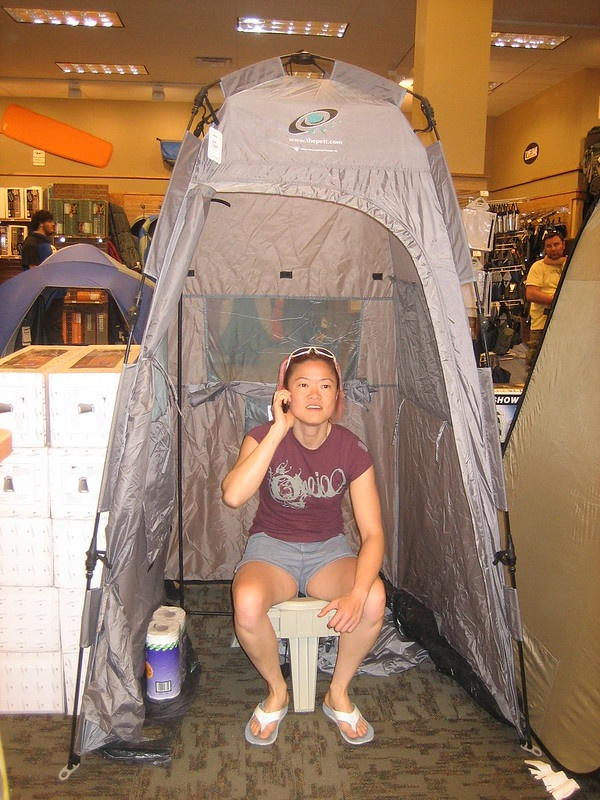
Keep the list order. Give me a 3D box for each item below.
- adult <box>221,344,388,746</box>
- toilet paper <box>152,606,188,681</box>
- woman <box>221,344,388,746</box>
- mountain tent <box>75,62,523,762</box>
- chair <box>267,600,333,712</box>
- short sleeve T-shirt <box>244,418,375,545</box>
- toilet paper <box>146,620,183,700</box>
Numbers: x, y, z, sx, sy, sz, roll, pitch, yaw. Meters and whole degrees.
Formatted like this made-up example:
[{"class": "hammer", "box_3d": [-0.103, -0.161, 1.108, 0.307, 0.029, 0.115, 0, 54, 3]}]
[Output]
[{"class": "adult", "box_3d": [0.008, 0.342, 1.558, 0.413, 0.953, 0.441, 1, 4, 7]}, {"class": "toilet paper", "box_3d": [-0.339, 0.628, 1.559, 0.070, 0.181, 0.194, 0, 2, -6]}, {"class": "woman", "box_3d": [0.008, 0.342, 1.558, 0.413, 0.953, 0.441, 1, 4, 7]}, {"class": "mountain tent", "box_3d": [0.003, -0.084, 1.823, 1.178, 1.642, 1.254, 1, 2, -12]}, {"class": "chair", "box_3d": [0.012, 0.657, 1.566, 0.154, 0.329, 0.197, 1, 4, 7]}, {"class": "short sleeve T-shirt", "box_3d": [0.018, 0.224, 1.684, 0.330, 0.316, 0.186, 4, 13, 0]}, {"class": "toilet paper", "box_3d": [-0.349, 0.667, 1.550, 0.093, 0.174, 0.085, 0, 4, -16]}]
